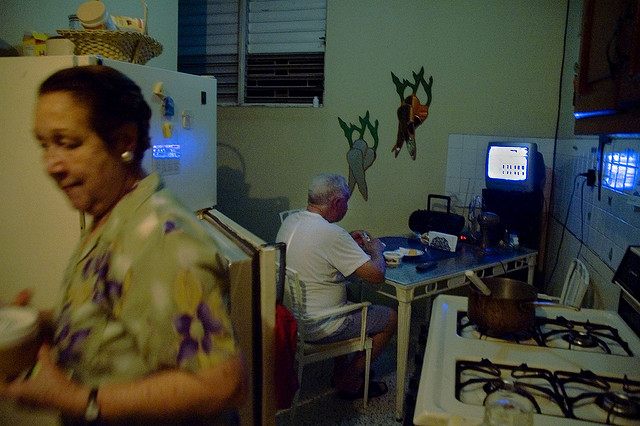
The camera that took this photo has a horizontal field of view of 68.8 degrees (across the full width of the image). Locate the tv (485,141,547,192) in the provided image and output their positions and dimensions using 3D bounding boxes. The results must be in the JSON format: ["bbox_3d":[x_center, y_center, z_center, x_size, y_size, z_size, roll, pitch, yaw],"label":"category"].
[{"bbox_3d":[1.461,-0.359,3.826,0.434,0.383,0.449,3,1,-14],"label":"tv"}]

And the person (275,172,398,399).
[{"bbox_3d":[0.106,0.552,3.194,0.834,1.480,0.783,-2,1,-38],"label":"person"}]

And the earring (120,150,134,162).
[{"bbox_3d":[-0.485,-0.141,1.179,0.027,0.025,0.028,10,37,3],"label":"earring"}]

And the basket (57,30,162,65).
[{"bbox_3d":[-0.891,-0.732,2.052,0.408,0.136,0.326,1,9,-10],"label":"basket"}]

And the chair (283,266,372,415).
[{"bbox_3d":[0.023,0.829,3.085,0.521,0.830,0.488,-4,-3,-12],"label":"chair"}]

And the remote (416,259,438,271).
[{"bbox_3d":[0.710,0.344,3.128,0.198,0.057,0.054,-12,0,-31],"label":"remote"}]
